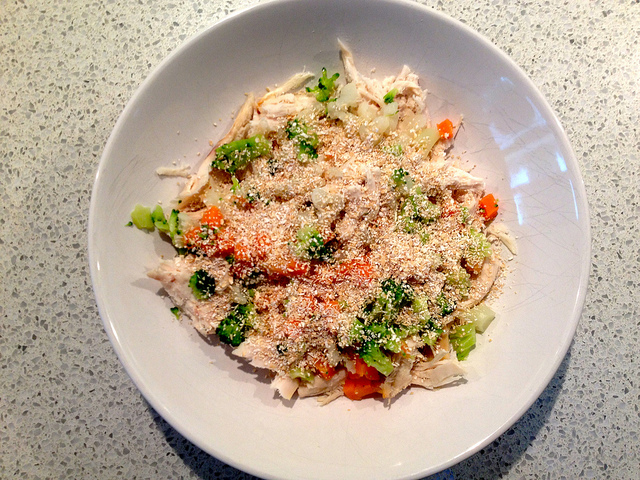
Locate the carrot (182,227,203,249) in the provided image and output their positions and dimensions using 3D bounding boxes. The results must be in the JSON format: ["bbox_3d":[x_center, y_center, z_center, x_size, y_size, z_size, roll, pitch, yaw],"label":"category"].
[{"bbox_3d":[-0.662,-0.009,3.352,0.124,0.030,0.076,-45,79,11],"label":"carrot"}]

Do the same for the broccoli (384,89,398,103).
[{"bbox_3d":[0.376,-0.764,3.358,0.067,0.031,0.048,-47,125,-15],"label":"broccoli"}]

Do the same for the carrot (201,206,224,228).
[{"bbox_3d":[-0.547,-0.123,3.297,0.106,0.027,0.098,15,86,1],"label":"carrot"}]

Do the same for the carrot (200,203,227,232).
[{"bbox_3d":[-0.538,-0.111,3.304,0.094,0.047,0.133,34,86,2],"label":"carrot"}]

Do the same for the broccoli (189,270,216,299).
[{"bbox_3d":[-0.607,0.228,3.332,0.137,0.045,0.147,-3,97,23],"label":"broccoli"}]

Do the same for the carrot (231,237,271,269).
[{"bbox_3d":[-0.347,0.067,3.278,0.190,0.064,0.133,-12,86,-1],"label":"carrot"}]

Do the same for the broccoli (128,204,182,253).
[{"bbox_3d":[-0.869,-0.118,3.428,0.177,0.303,0.111,-5,81,-4],"label":"broccoli"}]

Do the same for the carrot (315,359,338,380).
[{"bbox_3d":[0.026,0.689,3.347,0.098,0.040,0.105,-27,103,18],"label":"carrot"}]

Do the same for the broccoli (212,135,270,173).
[{"bbox_3d":[-0.412,-0.465,3.389,0.286,0.081,0.164,-19,100,7],"label":"broccoli"}]

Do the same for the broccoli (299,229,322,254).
[{"bbox_3d":[-0.046,0.003,3.274,0.088,0.042,0.145,-29,86,-2],"label":"broccoli"}]

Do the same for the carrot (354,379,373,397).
[{"bbox_3d":[0.233,0.786,3.397,0.099,0.042,0.088,-19,86,-2],"label":"carrot"}]

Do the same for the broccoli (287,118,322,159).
[{"bbox_3d":[-0.128,-0.517,3.387,0.259,0.154,0.063,43,107,12],"label":"broccoli"}]

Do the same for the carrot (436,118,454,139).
[{"bbox_3d":[0.678,-0.604,3.430,0.085,0.054,0.104,-3,86,0],"label":"carrot"}]

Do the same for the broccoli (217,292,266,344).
[{"bbox_3d":[-0.418,0.431,3.392,0.088,0.324,0.212,7,73,-38],"label":"broccoli"}]

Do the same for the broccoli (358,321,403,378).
[{"bbox_3d":[0.327,0.560,3.310,0.229,0.073,0.246,18,86,1],"label":"broccoli"}]

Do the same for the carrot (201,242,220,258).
[{"bbox_3d":[-0.565,0.055,3.303,0.098,0.044,0.069,0,86,0],"label":"carrot"}]

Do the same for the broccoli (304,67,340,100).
[{"bbox_3d":[0.035,-0.833,3.362,0.118,0.049,0.127,3,71,32],"label":"broccoli"}]

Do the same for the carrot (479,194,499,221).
[{"bbox_3d":[0.906,-0.183,3.487,0.116,0.057,0.119,-40,103,-13],"label":"carrot"}]

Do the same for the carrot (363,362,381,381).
[{"bbox_3d":[0.277,0.708,3.356,0.113,0.091,0.071,24,86,2],"label":"carrot"}]

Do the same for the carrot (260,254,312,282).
[{"bbox_3d":[-0.179,0.145,3.224,0.205,0.073,0.124,-8,101,2],"label":"carrot"}]

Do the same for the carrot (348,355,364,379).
[{"bbox_3d":[0.201,0.678,3.368,0.064,0.117,0.133,17,86,2],"label":"carrot"}]

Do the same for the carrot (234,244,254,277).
[{"bbox_3d":[-0.400,0.107,3.247,0.074,0.030,0.138,1,111,5],"label":"carrot"}]

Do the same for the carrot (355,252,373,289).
[{"bbox_3d":[0.240,0.158,3.296,0.083,0.083,0.185,14,86,1],"label":"carrot"}]

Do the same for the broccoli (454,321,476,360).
[{"bbox_3d":[0.768,0.544,3.398,0.129,0.042,0.185,-3,84,31],"label":"broccoli"}]
